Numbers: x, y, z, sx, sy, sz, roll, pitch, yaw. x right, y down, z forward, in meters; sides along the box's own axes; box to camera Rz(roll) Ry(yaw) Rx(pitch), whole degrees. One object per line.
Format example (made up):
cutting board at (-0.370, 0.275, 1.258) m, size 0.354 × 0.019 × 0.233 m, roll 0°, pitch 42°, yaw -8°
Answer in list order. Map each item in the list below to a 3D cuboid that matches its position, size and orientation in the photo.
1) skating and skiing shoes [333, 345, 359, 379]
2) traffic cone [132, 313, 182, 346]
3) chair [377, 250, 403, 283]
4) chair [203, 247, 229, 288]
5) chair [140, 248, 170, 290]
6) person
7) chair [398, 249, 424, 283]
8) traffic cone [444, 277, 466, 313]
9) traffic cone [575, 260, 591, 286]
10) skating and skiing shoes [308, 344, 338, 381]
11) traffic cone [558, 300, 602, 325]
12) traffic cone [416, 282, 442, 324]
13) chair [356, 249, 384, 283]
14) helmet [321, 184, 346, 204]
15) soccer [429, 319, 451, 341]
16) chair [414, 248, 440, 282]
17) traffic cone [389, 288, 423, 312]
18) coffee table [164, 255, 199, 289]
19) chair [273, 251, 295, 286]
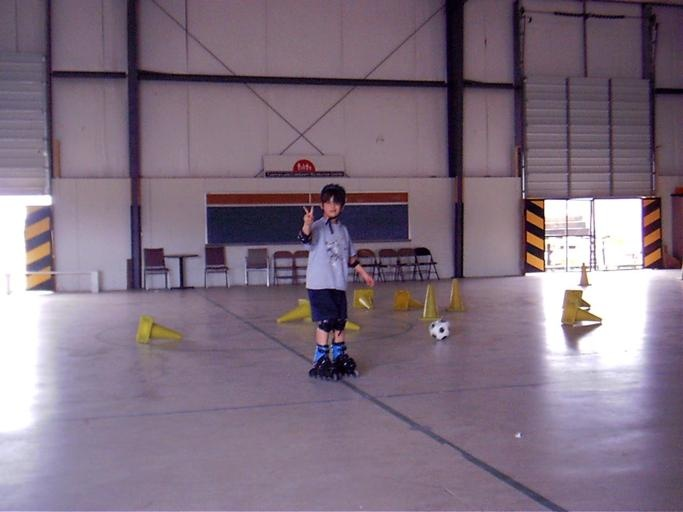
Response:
skating and skiing shoes at (-0.006, 0.950, 6.244) m, size 0.114 × 0.266 × 0.343 m, roll 11°, pitch 2°, yaw -44°
traffic cone at (-2.140, 0.788, 7.877) m, size 0.488 × 0.445 × 0.313 m, roll 22°, pitch -22°, yaw -37°
chair at (1.132, 0.195, 15.967) m, size 0.542 × 0.993 × 0.679 m, roll 0°, pitch -4°, yaw -8°
chair at (-2.702, 0.212, 14.762) m, size 0.533 × 0.948 × 0.617 m, roll -3°, pitch -1°, yaw 0°
chair at (-3.926, 0.240, 14.515) m, size 0.595 × 0.934 × 0.664 m, roll -3°, pitch -2°, yaw 10°
person at (-0.081, 0.201, 6.175) m, size 0.555 × 1.195 × 1.002 m, roll -1°, pitch 1°, yaw 0°
chair at (1.613, 0.165, 16.114) m, size 0.536 × 1.003 × 0.699 m, roll 0°, pitch -2°, yaw -10°
traffic cone at (1.650, 0.588, 9.789) m, size 0.286 × 0.402 × 0.299 m, roll -10°, pitch 15°, yaw -22°
traffic cone at (5.489, 0.371, 15.501) m, size 0.363 × 0.797 × 0.392 m, roll -1°, pitch -4°, yaw 18°
skating and skiing shoes at (-0.157, 0.948, 6.154) m, size 0.169 × 0.325 × 0.423 m, roll 3°, pitch -3°, yaw -25°
traffic cone at (2.910, 0.722, 8.276) m, size 0.323 × 0.277 × 0.306 m, roll 10°, pitch 1°, yaw -3°
traffic cone at (1.190, 0.621, 9.074) m, size 0.367 × 0.461 × 0.364 m, roll -7°, pitch 7°, yaw -38°
chair at (0.705, 0.182, 15.887) m, size 0.555 × 1.084 × 0.730 m, roll -1°, pitch -3°, yaw -8°
helmet at (-0.067, -0.555, 6.050) m, size 0.135 × 0.178 × 0.198 m, roll 1°, pitch 15°, yaw -2°
soccer at (1.100, 0.815, 7.659) m, size 0.212 × 0.208 × 0.279 m, roll -1°, pitch 1°, yaw 3°
chair at (1.972, 0.154, 16.409) m, size 0.568 × 1.075 × 0.721 m, roll -1°, pitch -2°, yaw -16°
traffic cone at (0.976, 0.666, 10.262) m, size 0.426 × 0.355 × 0.298 m, roll 13°, pitch -11°, yaw -39°
coffee table at (-3.523, 0.324, 15.042) m, size 0.653 × 0.772 × 0.704 m, roll 0°, pitch -2°, yaw -10°
chair at (-1.300, 0.243, 15.712) m, size 0.410 × 0.772 × 0.500 m, roll -2°, pitch 0°, yaw -2°
